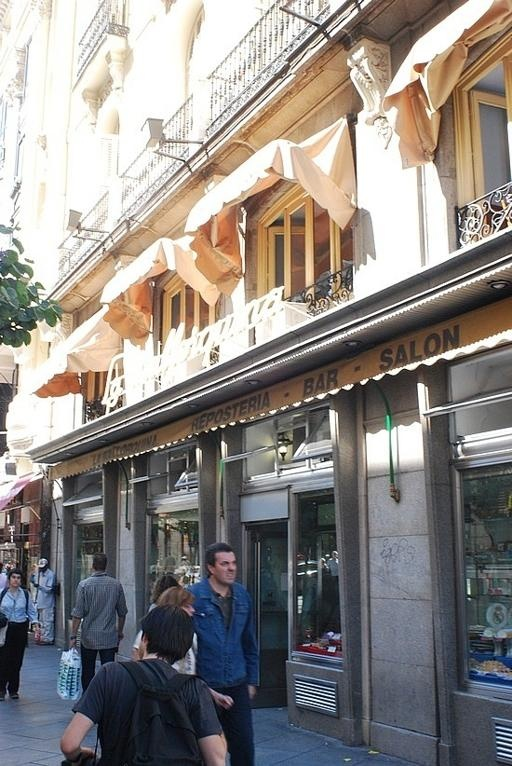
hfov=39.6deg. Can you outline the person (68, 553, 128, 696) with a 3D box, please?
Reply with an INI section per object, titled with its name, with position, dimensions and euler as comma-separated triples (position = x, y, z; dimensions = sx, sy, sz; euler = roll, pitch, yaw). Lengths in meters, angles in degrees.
[person]
position = -1.717, 2.679, 7.779
dimensions = 0.563, 1.812, 0.453
euler = 2, 8, -10
